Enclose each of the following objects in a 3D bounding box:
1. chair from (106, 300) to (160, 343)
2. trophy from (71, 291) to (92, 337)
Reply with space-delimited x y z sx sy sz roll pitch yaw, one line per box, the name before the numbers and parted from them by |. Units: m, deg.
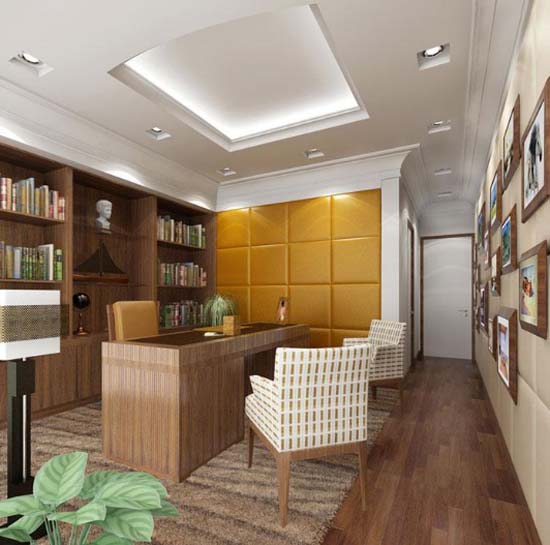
chair | -1.241 0.393 3.518 0.382 0.623 0.349 -1 -1 44
trophy | -2.078 0.428 4.372 0.167 0.436 0.554 0 0 -25
